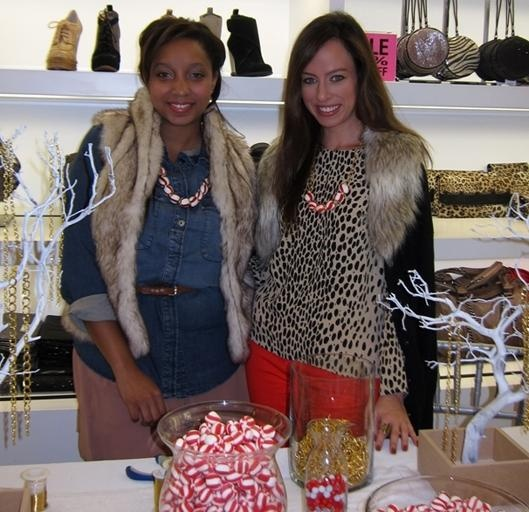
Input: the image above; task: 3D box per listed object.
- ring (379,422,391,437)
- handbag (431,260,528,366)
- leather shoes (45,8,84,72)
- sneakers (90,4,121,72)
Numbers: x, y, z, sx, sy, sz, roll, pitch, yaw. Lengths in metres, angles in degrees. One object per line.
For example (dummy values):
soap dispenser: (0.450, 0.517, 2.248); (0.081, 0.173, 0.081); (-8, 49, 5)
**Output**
ring: (0.241, 0.346, 1.098); (0.009, 0.037, 0.018); (19, 11, 20)
handbag: (0.805, 0.210, 2.011); (0.333, 0.345, 0.546); (0, 7, 22)
leather shoes: (-0.680, -0.743, 1.935); (0.102, 0.128, 0.313); (4, 49, -7)
sneakers: (-0.525, -0.763, 1.910); (0.079, 0.128, 0.299); (1, 45, -6)
